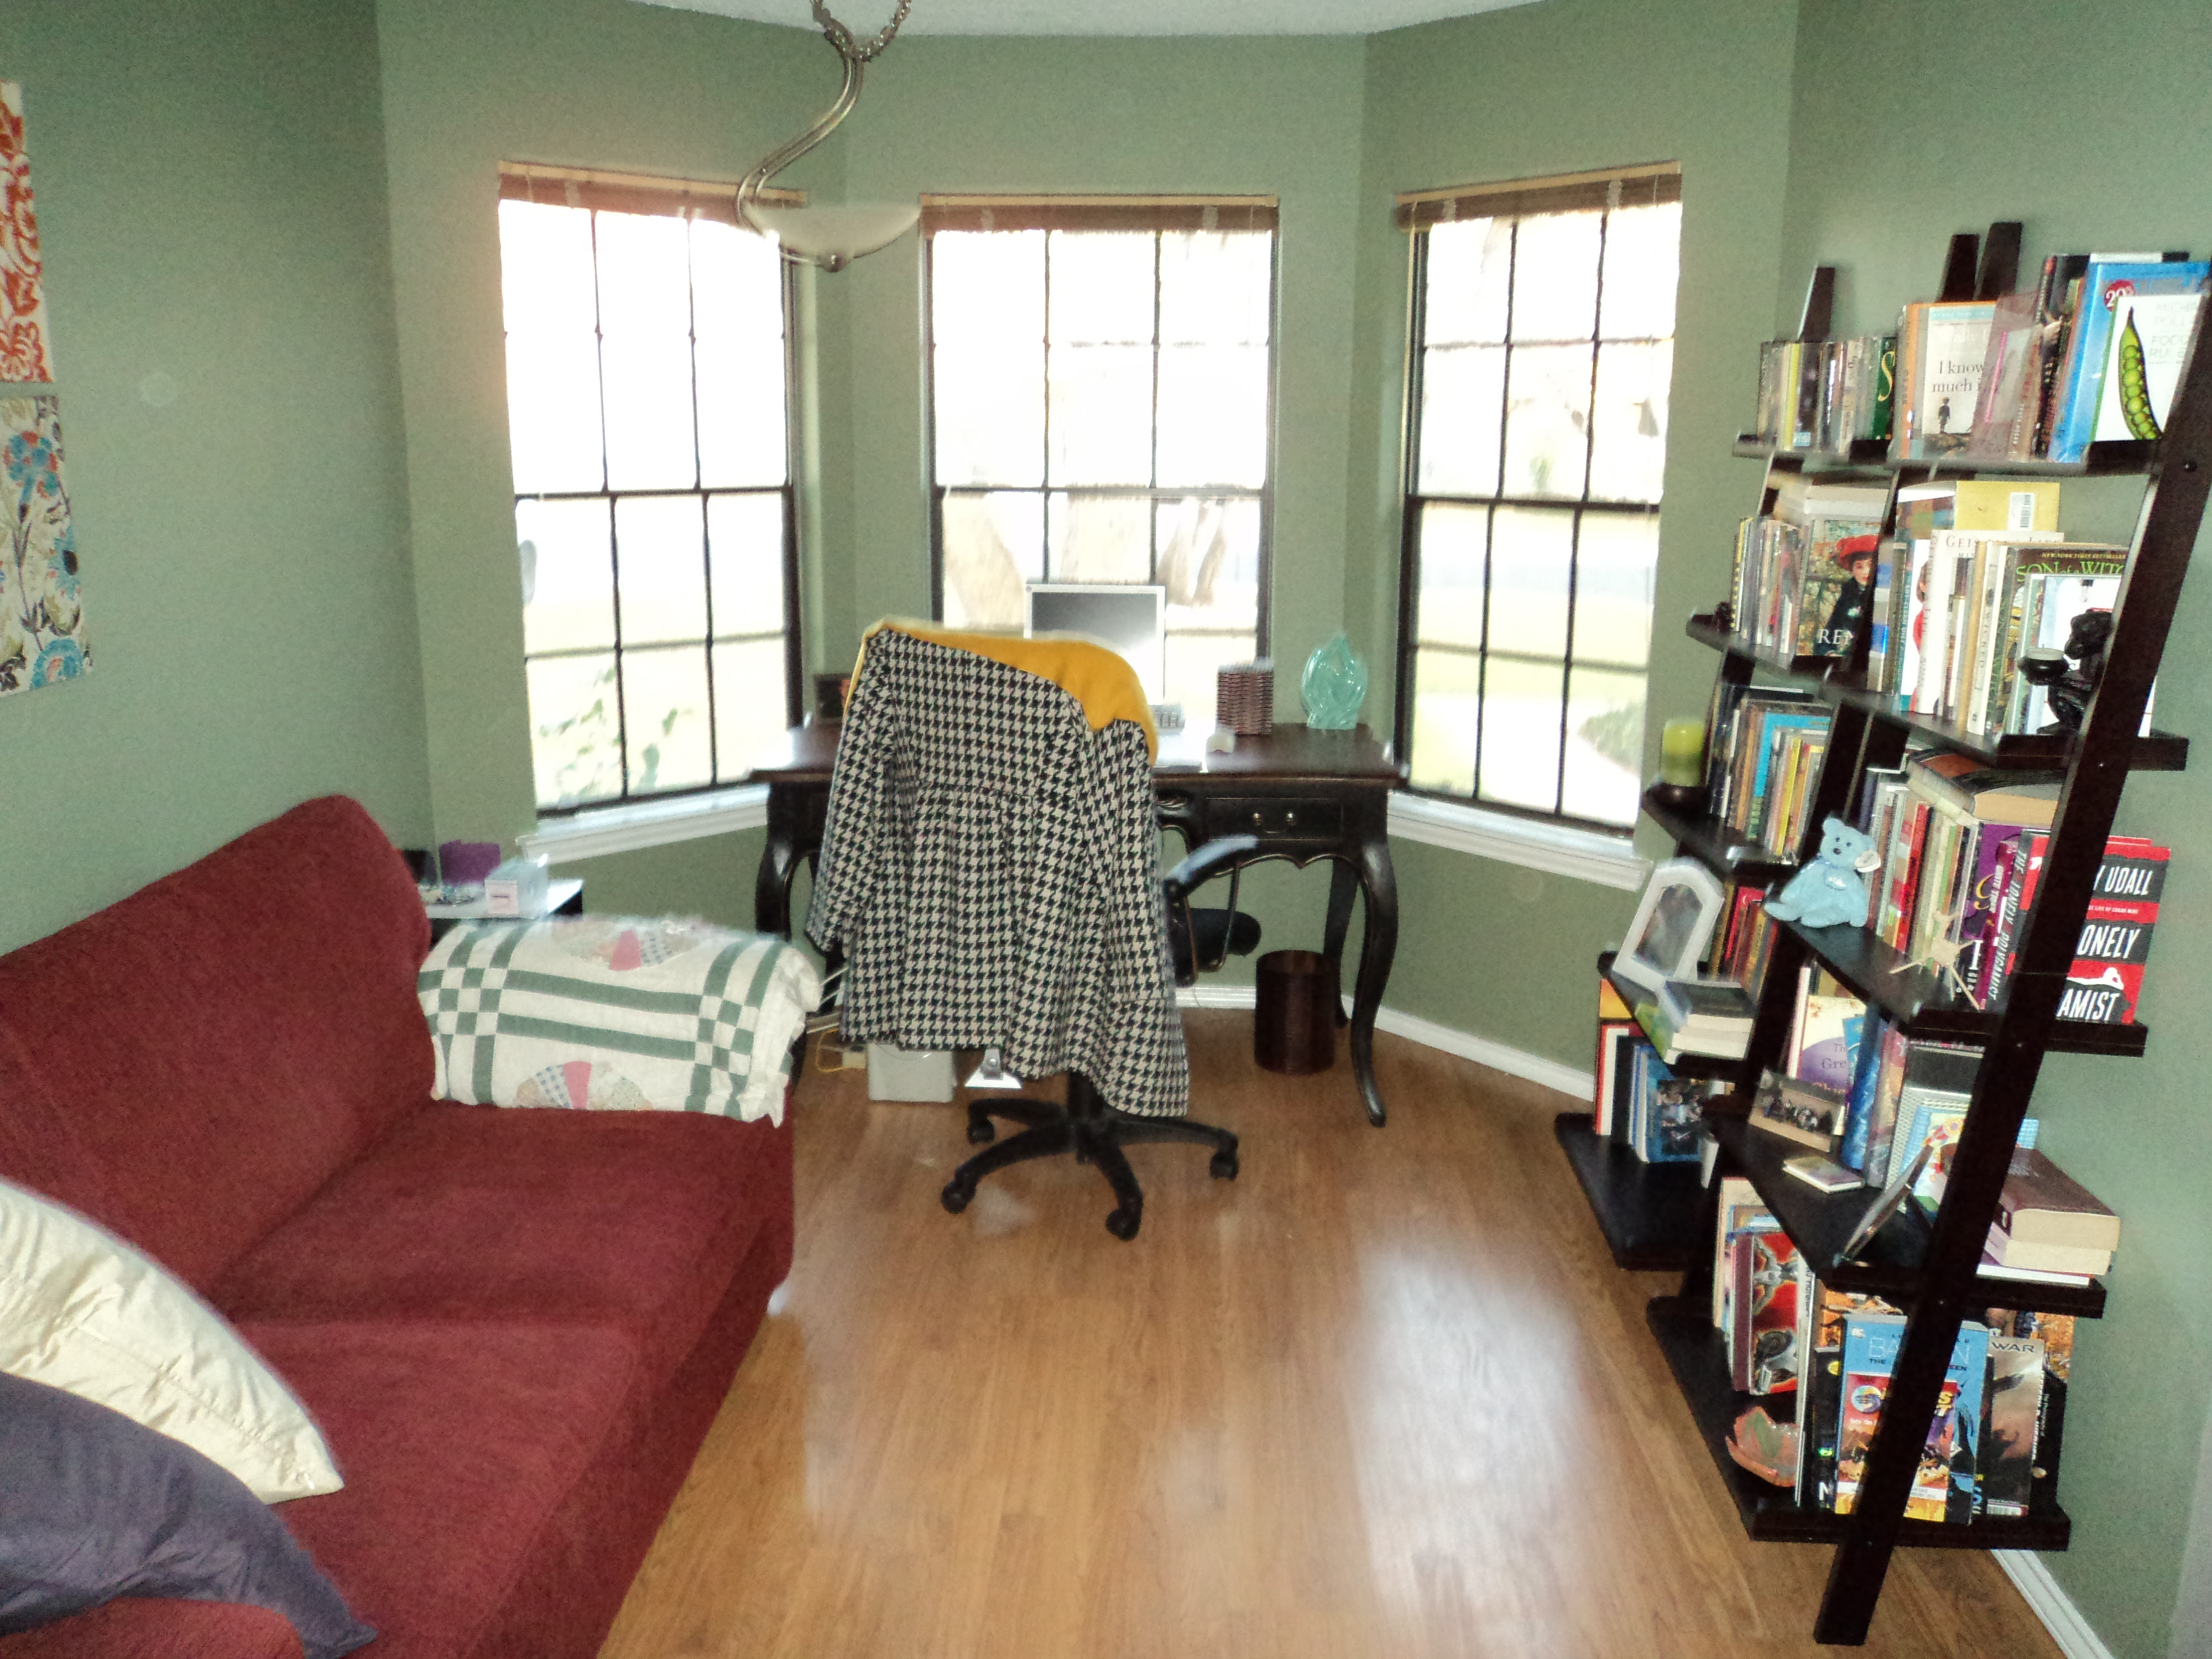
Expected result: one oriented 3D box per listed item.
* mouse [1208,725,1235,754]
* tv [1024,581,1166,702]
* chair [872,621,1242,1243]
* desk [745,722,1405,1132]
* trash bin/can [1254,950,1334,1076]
[{"bbox_3d":[0.338,-0.260,4.822,0.078,0.024,0.075,-12,25,-32],"label":"mouse"},{"bbox_3d":[-0.027,-0.515,4.484,0.444,0.523,0.048,0,12,-1],"label":"tv"},{"bbox_3d":[-0.075,0.211,4.158,0.881,1.511,0.671,3,16,6],"label":"chair"},{"bbox_3d":[0.209,-0.006,4.666,1.690,1.253,1.123,1,5,13],"label":"desk"},{"bbox_3d":[0.538,0.564,5.106,0.285,0.374,0.300,0,6,-6],"label":"trash bin/can"}]
